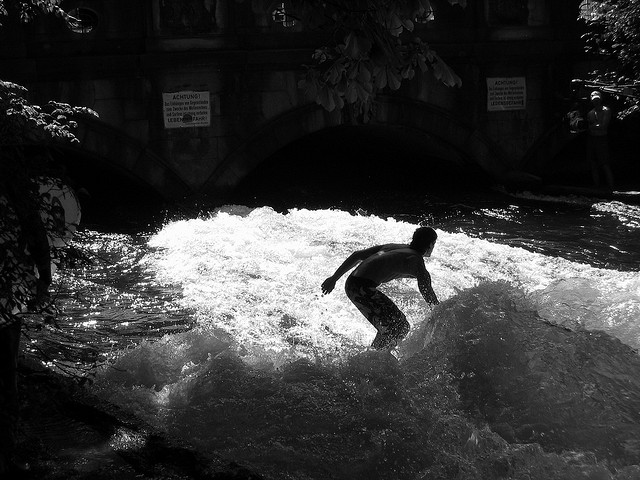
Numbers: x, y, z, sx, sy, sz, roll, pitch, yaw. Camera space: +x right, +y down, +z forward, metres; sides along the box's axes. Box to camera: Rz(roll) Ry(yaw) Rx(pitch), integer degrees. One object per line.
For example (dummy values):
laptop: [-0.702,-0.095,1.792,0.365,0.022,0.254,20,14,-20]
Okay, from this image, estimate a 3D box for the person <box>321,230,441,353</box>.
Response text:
person: [0.696,0.509,6.642,1.160,1.346,0.674,1,-12,12]
